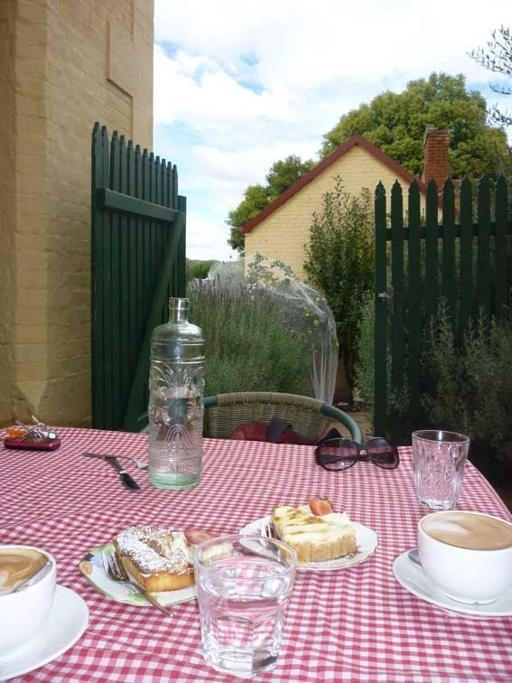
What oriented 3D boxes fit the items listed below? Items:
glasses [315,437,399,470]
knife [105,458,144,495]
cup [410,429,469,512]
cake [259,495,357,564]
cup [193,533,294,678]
[{"bbox_3d":[0.251,0.276,1.611,0.204,0.102,0.168,-2,8,-18],"label":"glasses"},{"bbox_3d":[-0.323,0.296,1.501,0.040,0.027,0.318,-5,8,-20],"label":"knife"},{"bbox_3d":[0.389,0.256,1.313,0.134,0.175,0.141,1,4,0],"label":"cup"},{"bbox_3d":[0.076,0.290,1.018,0.138,0.089,0.139,0,2,-16],"label":"cake"},{"bbox_3d":[-0.013,0.311,0.724,0.119,0.127,0.116,3,3,0],"label":"cup"}]
